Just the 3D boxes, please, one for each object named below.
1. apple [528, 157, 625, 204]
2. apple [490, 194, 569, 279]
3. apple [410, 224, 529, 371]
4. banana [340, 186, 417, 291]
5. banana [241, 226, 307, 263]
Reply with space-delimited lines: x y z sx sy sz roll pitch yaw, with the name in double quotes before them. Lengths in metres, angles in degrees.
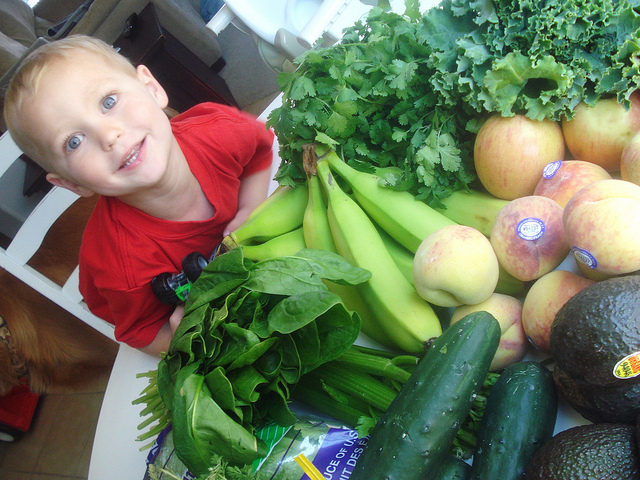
"apple" 0.504 -0.121 0.968 0.123 0.076 0.104 1 4 6
"apple" 0.423 -0.010 1.007 0.138 0.181 0.154 2 -1 16
"apple" 0.292 0.088 1.045 0.174 0.327 0.143 -22 -5 10
"banana" 0.142 0.012 1.114 0.105 0.215 0.127 -23 23 -27
"banana" -0.099 0.005 1.193 0.185 0.052 0.065 -17 -22 8
